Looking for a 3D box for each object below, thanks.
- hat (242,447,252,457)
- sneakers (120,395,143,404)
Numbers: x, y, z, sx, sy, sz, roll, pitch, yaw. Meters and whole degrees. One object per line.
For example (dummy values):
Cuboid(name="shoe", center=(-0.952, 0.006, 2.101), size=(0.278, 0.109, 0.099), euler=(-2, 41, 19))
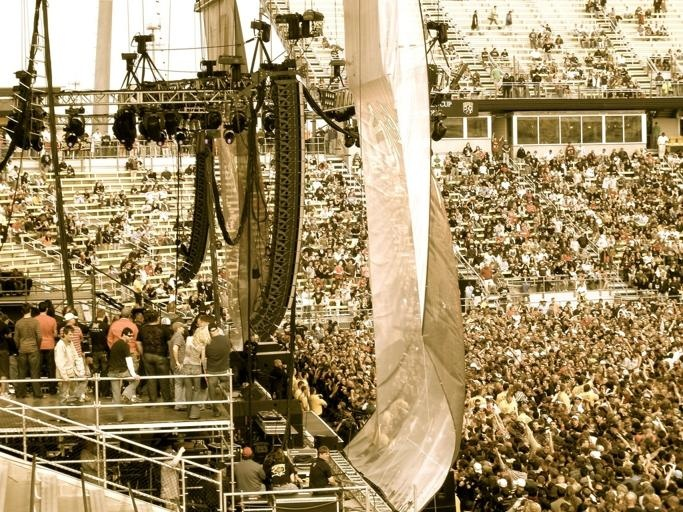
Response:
Cuboid(name="hat", center=(-2.052, 4.382, 32.905), size=(0.204, 0.266, 0.459), euler=(-3, 3, -9))
Cuboid(name="sneakers", center=(-4.813, 3.318, 34.142), size=(0.462, 0.203, 0.159), euler=(0, 0, -8))
